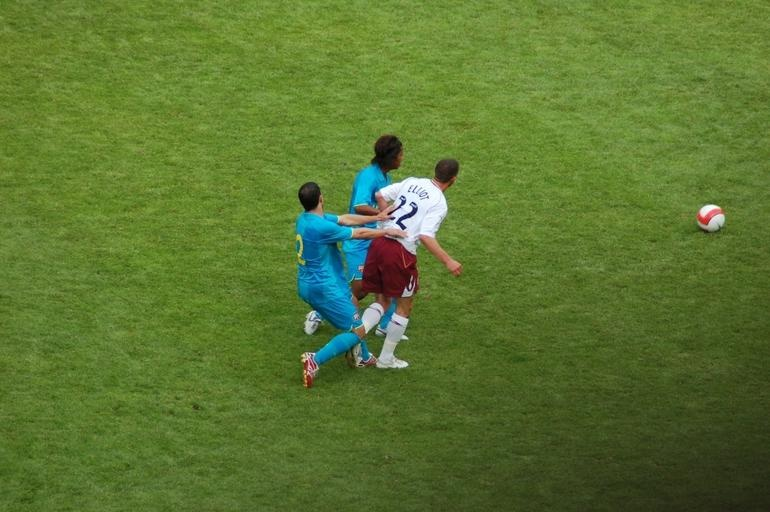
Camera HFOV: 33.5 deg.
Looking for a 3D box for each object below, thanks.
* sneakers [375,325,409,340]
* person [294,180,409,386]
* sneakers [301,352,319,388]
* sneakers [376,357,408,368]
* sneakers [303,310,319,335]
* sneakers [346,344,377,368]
[{"bbox_3d":[0.065,0.944,14.991,0.433,0.171,0.137,2,38,-2],"label":"sneakers"},{"bbox_3d":[-0.555,0.108,14.323,1.048,1.592,0.696,10,24,-4],"label":"person"},{"bbox_3d":[-0.845,1.299,14.390,0.212,0.400,0.265,11,23,-1],"label":"sneakers"},{"bbox_3d":[0.079,1.239,14.666,0.370,0.144,0.128,-2,23,-8],"label":"sneakers"},{"bbox_3d":[-0.857,0.817,14.907,0.158,0.297,0.135,1,-6,30],"label":"sneakers"},{"bbox_3d":[-0.278,1.175,14.576,0.367,0.238,0.118,-16,31,-22],"label":"sneakers"}]
